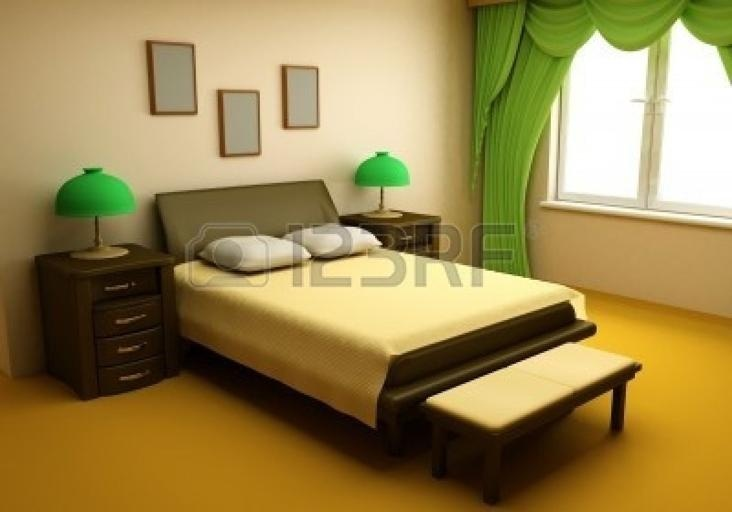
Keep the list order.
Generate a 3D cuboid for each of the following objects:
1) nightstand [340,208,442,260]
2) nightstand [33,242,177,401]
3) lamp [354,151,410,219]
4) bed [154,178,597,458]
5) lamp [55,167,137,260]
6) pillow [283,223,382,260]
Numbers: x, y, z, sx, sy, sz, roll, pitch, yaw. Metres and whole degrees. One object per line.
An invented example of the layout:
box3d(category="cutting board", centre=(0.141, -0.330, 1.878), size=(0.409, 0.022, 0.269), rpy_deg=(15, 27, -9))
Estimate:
box3d(category="nightstand", centre=(0.270, -0.260, 5.024), size=(0.568, 0.714, 0.744), rpy_deg=(-12, 17, -42))
box3d(category="nightstand", centre=(-1.786, 0.425, 3.918), size=(1.106, 1.087, 0.934), rpy_deg=(6, 10, 43))
box3d(category="lamp", centre=(0.108, -0.757, 5.210), size=(0.706, 0.747, 0.676), rpy_deg=(8, 13, 37))
box3d(category="bed", centre=(-0.303, 0.222, 3.643), size=(2.049, 1.067, 2.677), rpy_deg=(-11, 17, -42))
box3d(category="lamp", centre=(-1.914, -0.321, 3.685), size=(0.670, 0.721, 0.663), rpy_deg=(-2, 8, -25))
box3d(category="pillow", centre=(-0.348, -0.145, 4.322), size=(0.479, 0.135, 0.442), rpy_deg=(-9, 14, -42))
